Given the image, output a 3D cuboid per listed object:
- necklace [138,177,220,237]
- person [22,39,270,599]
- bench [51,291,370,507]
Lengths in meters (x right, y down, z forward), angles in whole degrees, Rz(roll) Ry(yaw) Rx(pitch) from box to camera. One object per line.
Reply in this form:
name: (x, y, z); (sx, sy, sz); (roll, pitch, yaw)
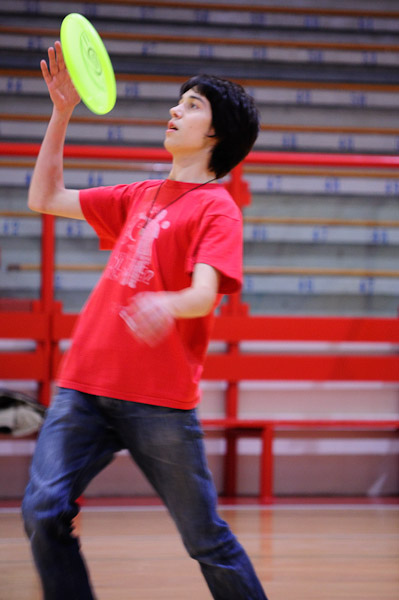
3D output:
necklace: (-0.069, -0.245, 2.549); (0.194, 0.144, 0.096); (0, 7, -9)
person: (-0.142, 0.039, 2.529); (0.632, 1.440, 0.480); (1, 7, -7)
bench: (0.207, 0.434, 4.029); (1.835, 0.834, 0.326); (3, 2, -33)
